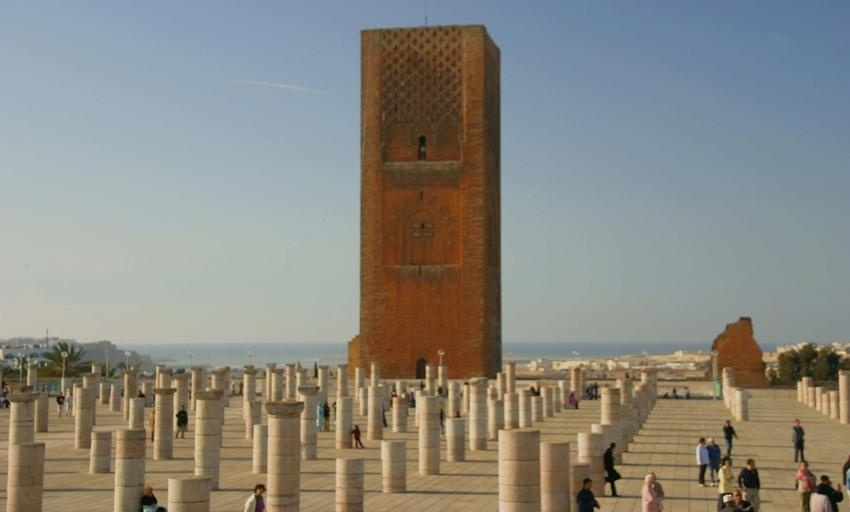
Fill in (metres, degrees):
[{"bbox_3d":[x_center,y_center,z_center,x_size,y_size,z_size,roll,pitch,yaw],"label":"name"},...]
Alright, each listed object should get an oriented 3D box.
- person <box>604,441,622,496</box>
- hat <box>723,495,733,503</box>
[{"bbox_3d":[5.885,6.787,39.572,0.481,1.641,1.188,-3,-6,8],"label":"person"},{"bbox_3d":[8.882,7.136,36.465,0.205,0.131,0.196,1,-1,-10],"label":"hat"}]
